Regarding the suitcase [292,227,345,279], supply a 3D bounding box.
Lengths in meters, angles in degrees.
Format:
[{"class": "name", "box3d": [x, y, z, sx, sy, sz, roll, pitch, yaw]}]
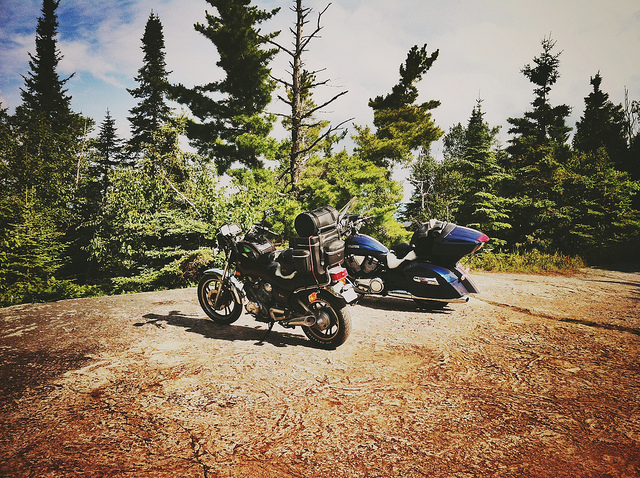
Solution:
[{"class": "suitcase", "box3d": [-0.123, 0.130, 7.775, 1.047, 0.635, 0.811, 10, 21, 26]}]

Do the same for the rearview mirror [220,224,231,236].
[{"class": "rearview mirror", "box3d": [-1.715, -0.160, 8.017, 0.201, 0.170, 0.044, 8, 2, 22]}]

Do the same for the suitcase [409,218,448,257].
[{"class": "suitcase", "box3d": [2.226, -0.005, 9.138, 0.673, 0.720, 0.298, 4, 11, 12]}]
